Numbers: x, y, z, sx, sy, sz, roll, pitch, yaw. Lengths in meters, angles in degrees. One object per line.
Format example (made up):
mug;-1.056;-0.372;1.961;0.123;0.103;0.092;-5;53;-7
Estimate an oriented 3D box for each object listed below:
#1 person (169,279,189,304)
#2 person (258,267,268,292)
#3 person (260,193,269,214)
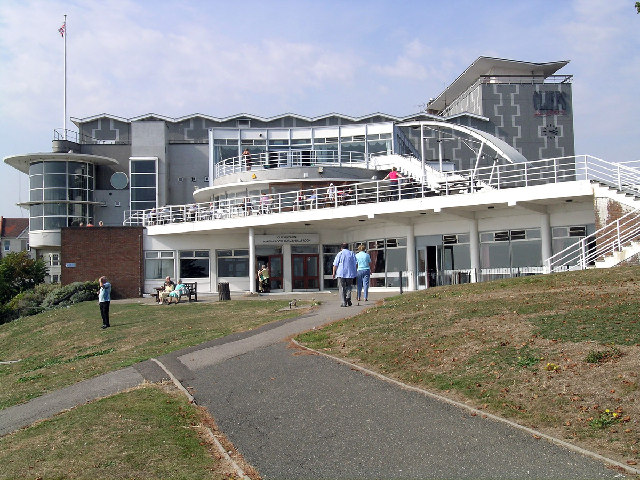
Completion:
person;-7.072;2.705;37.409;1.079;0.838;1.453;-8;3;-11
person;-3.225;2.281;43.289;0.659;1.199;0.563;-8;4;-4
person;-3.076;-2.042;42.525;0.523;0.825;2.195;-7;3;-3
